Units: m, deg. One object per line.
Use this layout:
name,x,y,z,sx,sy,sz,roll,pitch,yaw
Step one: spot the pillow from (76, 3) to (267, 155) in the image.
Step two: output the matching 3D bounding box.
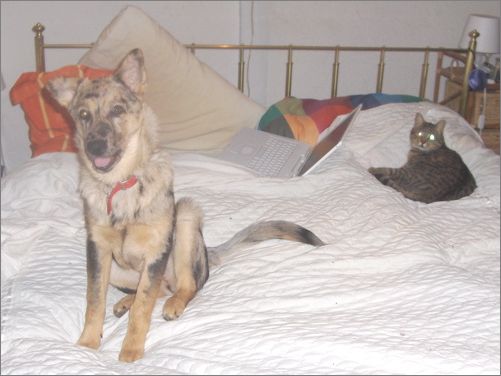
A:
pillow,-0.608,-0.826,3.692,1.350,0.824,0.403,38,5,-17

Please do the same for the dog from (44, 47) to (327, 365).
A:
dog,-0.335,0.008,2.212,0.680,1.165,1.200,3,16,32

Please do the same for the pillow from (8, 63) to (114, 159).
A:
pillow,-1.400,-0.520,3.398,0.725,0.829,0.240,-3,5,2

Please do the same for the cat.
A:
cat,1.266,-0.367,3.306,0.540,0.334,0.813,15,19,14
